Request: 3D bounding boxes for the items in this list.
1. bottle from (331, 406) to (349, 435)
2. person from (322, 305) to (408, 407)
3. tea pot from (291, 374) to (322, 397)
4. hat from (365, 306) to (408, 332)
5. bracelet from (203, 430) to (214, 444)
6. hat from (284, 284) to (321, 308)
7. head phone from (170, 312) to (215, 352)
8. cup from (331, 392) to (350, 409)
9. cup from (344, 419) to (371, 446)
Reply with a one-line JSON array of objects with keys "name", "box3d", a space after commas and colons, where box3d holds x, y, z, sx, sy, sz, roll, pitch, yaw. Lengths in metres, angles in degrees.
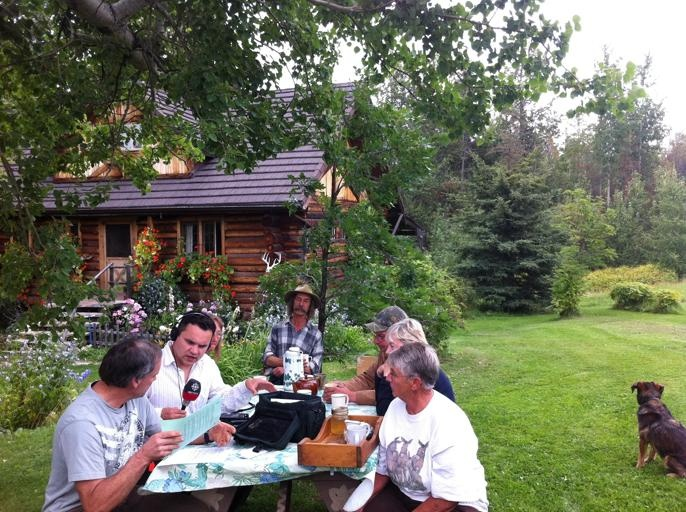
[{"name": "bottle", "box3d": [-0.038, 1.496, 5.215, 0.143, 0.220, 0.216, 1, -4, -2]}, {"name": "person", "box3d": [0.302, 1.126, 6.628, 1.029, 1.184, 0.753, 4, -4, -4]}, {"name": "tea pot", "box3d": [-0.352, 1.357, 5.954, 0.229, 0.140, 0.163, 6, -10, -35]}, {"name": "hat", "box3d": [0.475, 0.706, 6.295, 0.359, 0.240, 0.258, -1, 0, 1]}, {"name": "bracelet", "box3d": [-1.215, 1.639, 5.130, 0.108, 0.091, 0.041, 27, 32, 23]}, {"name": "hat", "box3d": [-0.521, 0.492, 7.798, 0.323, 0.146, 0.387, 8, -47, 8]}, {"name": "head phone", "box3d": [-1.485, 0.770, 5.672, 0.348, 0.359, 0.146, 20, 10, -9]}, {"name": "cup", "box3d": [-0.025, 1.337, 5.250, 0.157, 0.140, 0.135, 2, -6, -9]}, {"name": "cup", "box3d": [0.134, 1.531, 4.956, 0.188, 0.208, 0.162, 4, -4, 2]}]
